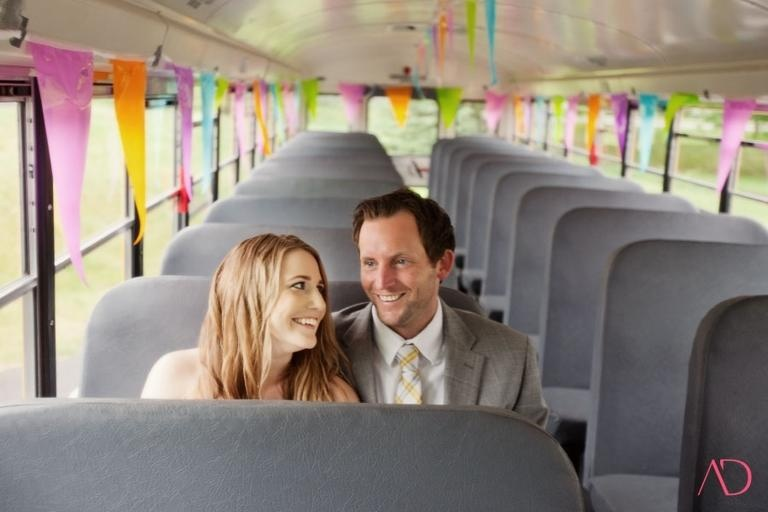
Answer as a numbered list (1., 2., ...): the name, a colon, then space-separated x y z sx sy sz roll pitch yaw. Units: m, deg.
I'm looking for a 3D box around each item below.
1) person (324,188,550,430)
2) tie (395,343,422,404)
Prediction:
1. person: 0.178 0.316 2.677 1.127 1.093 0.589 1 6 29
2. tie: 0.090 0.466 2.527 0.099 0.347 0.037 6 40 13
